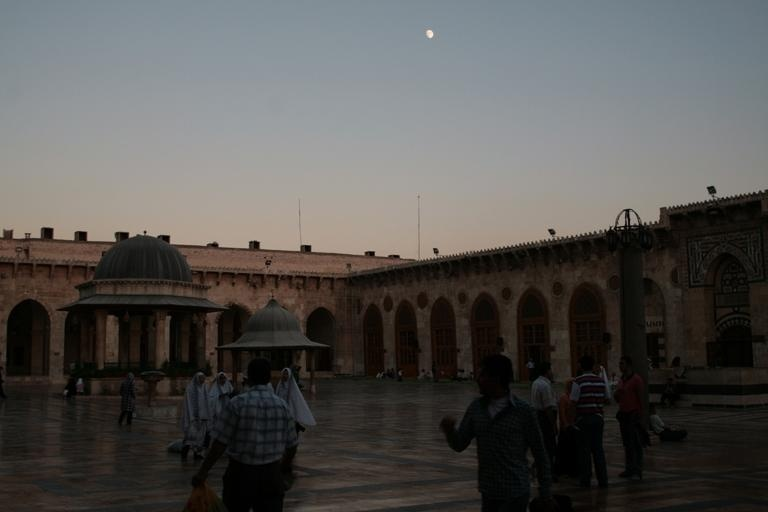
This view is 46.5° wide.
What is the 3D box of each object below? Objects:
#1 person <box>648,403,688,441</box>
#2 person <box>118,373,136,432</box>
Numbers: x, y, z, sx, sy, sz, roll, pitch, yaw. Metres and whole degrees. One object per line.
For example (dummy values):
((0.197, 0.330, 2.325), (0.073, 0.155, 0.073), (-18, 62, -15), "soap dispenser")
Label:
((6.048, 3.577, 19.187), (0.909, 0.803, 0.576), (-3, 2, 3), "person")
((-6.928, 3.765, 23.828), (0.399, 1.334, 1.709), (1, -7, -16), "person")
